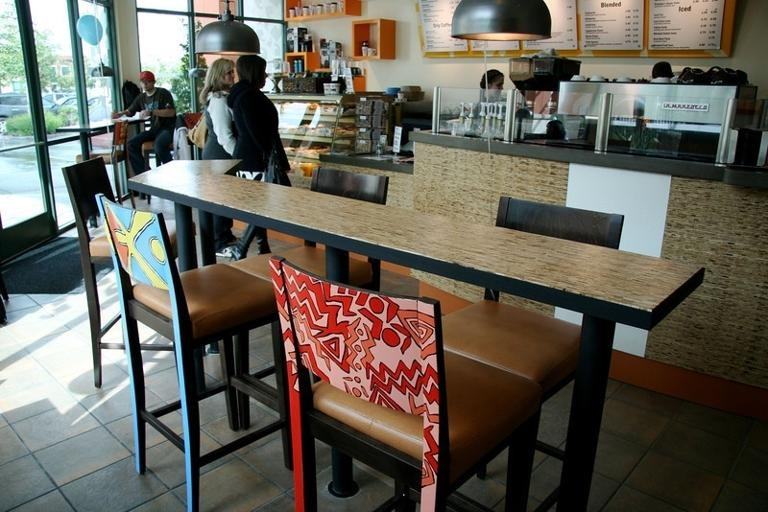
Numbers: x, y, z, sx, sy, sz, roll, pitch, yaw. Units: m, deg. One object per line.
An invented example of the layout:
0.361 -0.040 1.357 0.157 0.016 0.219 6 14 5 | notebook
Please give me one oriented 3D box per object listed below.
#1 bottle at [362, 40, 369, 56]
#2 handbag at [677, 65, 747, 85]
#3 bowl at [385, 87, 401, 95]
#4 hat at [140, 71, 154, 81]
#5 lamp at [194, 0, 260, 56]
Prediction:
-0.293 -3.095 7.971 0.109 0.210 0.199 -3 20 -1 | bottle
2.682 -1.457 4.332 0.478 0.119 0.704 9 21 29 | handbag
0.118 -2.173 7.072 0.196 0.093 0.426 -1 18 2 | bowl
-3.418 -2.565 7.618 0.163 0.127 0.224 -7 20 -12 | hat
-1.236 -1.790 4.269 0.483 0.453 0.446 -5 26 -11 | lamp
